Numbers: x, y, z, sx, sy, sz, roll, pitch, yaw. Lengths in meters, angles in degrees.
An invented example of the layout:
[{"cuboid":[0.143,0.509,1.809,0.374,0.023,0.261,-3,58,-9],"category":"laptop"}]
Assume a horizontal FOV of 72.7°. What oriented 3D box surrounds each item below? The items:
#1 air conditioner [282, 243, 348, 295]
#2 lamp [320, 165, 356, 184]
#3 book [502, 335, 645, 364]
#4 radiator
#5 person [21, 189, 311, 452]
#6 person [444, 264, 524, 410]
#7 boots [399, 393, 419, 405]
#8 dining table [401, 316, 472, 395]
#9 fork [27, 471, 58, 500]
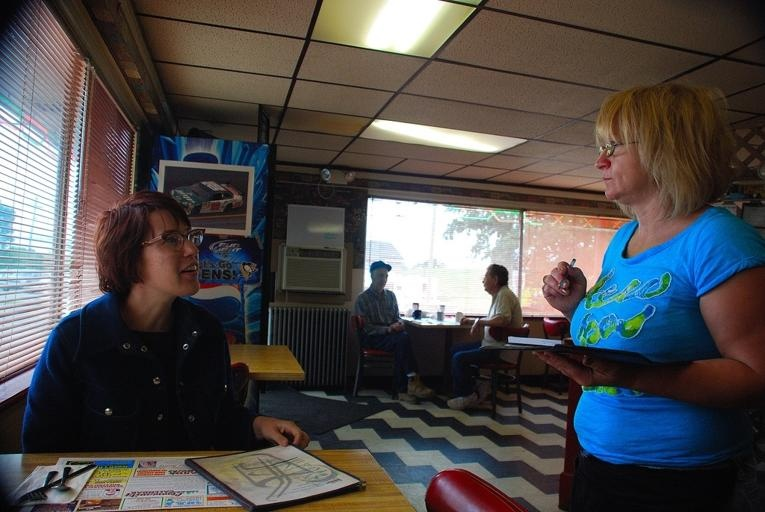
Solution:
[{"cuboid":[-0.883,0.211,6.716,1.061,0.669,0.566,2,-7,-12],"category":"air conditioner"},{"cuboid":[-0.555,-1.023,6.611,0.468,0.184,0.301,3,-1,-8],"category":"lamp"},{"cuboid":[0.586,0.290,1.630,0.206,0.039,0.398,3,-1,-32],"category":"book"},{"cuboid":[-1.007,1.116,6.636,1.125,0.919,1.045,0,0,-12],"category":"radiator"},{"cuboid":[-0.833,0.296,2.064,0.859,1.006,0.926,-1,-4,39],"category":"person"},{"cuboid":[1.133,0.970,6.022,1.178,1.823,0.967,0,-31,11],"category":"person"},{"cuboid":[0.297,1.625,5.898,0.087,0.088,0.226,3,-6,-33],"category":"boots"},{"cuboid":[0.720,1.168,6.535,0.963,0.810,0.886,0,3,-10],"category":"dining table"},{"cuboid":[-0.997,0.676,1.524,0.031,0.013,0.097,10,13,-10],"category":"fork"}]
